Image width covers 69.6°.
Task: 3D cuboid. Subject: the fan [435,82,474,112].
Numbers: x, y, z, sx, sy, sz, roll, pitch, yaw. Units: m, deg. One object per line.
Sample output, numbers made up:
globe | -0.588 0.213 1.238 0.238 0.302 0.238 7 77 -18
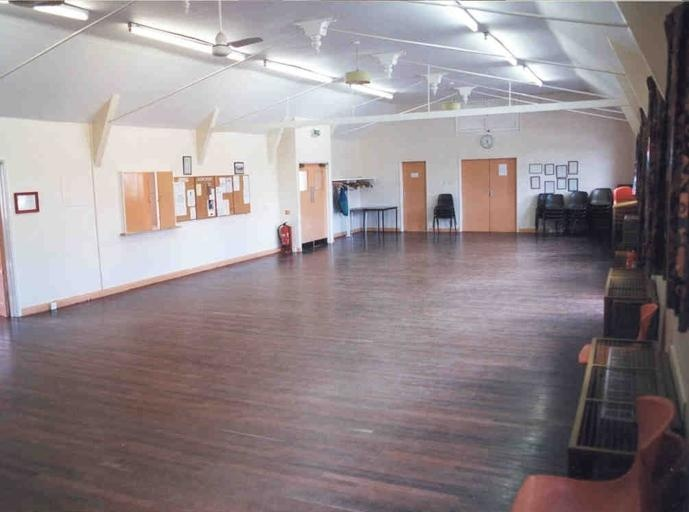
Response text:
fan | 2.602 -3.660 11.368 0.930 0.900 0.658 6 17 14

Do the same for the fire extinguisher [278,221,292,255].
fire extinguisher | -1.553 -0.512 13.187 0.329 0.773 0.371 -5 11 -18

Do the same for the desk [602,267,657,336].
desk | 2.845 0.468 4.947 0.234 0.263 0.803 -1 7 19

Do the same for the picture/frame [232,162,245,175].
picture/frame | -2.527 -2.113 11.861 0.022 0.246 0.337 -2 9 21

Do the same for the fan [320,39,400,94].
fan | 0.308 -3.495 9.017 0.947 0.643 0.968 1 6 1

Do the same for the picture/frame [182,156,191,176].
picture/frame | -3.324 -1.924 10.485 0.032 0.481 0.416 -1 5 19

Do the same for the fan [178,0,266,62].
fan | -1.360 -2.674 6.040 0.705 0.774 0.749 -7 15 -22

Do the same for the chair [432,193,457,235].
chair | 3.403 -1.540 16.578 0.929 1.582 1.089 1 4 16

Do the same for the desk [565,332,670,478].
desk | 1.753 0.949 3.220 0.352 0.194 0.857 -8 36 44

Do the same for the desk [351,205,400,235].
desk | 0.976 -1.261 16.809 1.194 0.886 1.384 8 14 43

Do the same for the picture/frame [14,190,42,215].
picture/frame | -4.944 -0.848 7.759 0.027 0.307 0.375 5 10 24
